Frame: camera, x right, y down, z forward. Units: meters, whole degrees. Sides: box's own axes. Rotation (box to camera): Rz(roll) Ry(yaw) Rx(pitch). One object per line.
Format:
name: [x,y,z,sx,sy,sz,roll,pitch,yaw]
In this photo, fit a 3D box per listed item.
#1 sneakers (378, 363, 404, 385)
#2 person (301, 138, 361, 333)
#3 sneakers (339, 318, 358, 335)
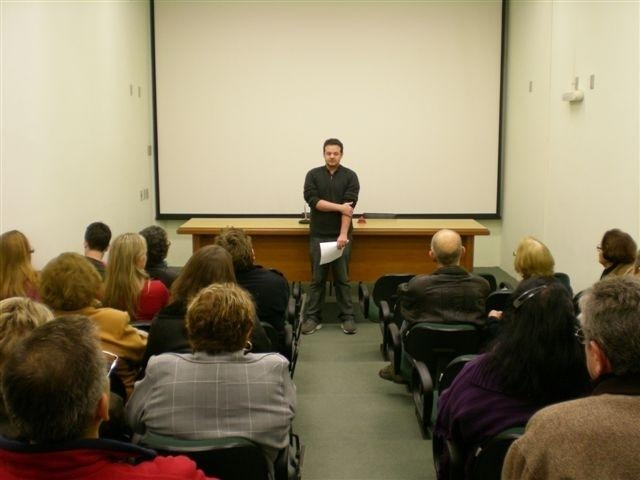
sneakers: [0.529,1.011,3.911,0.096,0.130,0.287,-2,8,-28]
person: [0.098,-0.038,5.300,0.563,1.916,0.498,-1,8,2]
sneakers: [0.278,0.857,5.286,0.175,0.124,0.174,1,9,13]
